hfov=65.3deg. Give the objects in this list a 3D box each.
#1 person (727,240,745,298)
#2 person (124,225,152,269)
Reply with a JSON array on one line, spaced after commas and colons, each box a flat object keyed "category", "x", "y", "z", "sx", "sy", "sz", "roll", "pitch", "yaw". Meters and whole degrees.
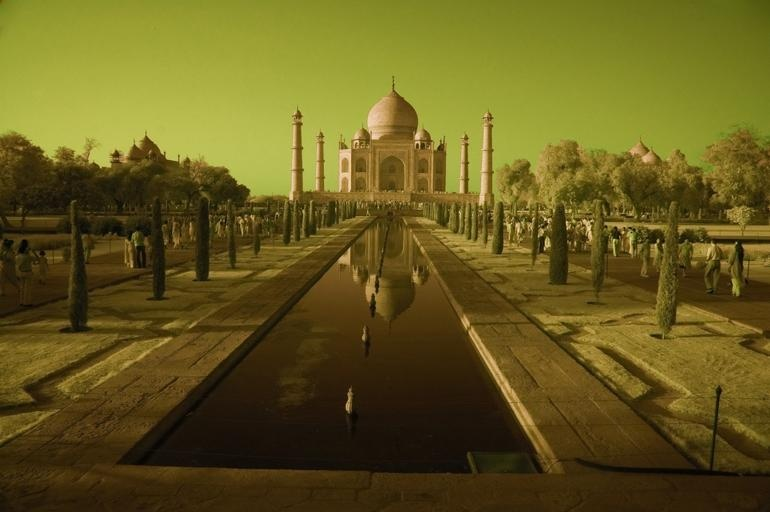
[{"category": "person", "x": 7.260, "y": 0.252, "z": 12.409, "sx": 0.320, "sy": 1.097, "sz": 0.849, "roll": 8, "pitch": 13, "yaw": 30}, {"category": "person", "x": -6.566, "y": -0.193, "z": 15.904, "sx": 0.577, "sy": 0.929, "sz": 1.068, "roll": -3, "pitch": 12, "yaw": -22}]
